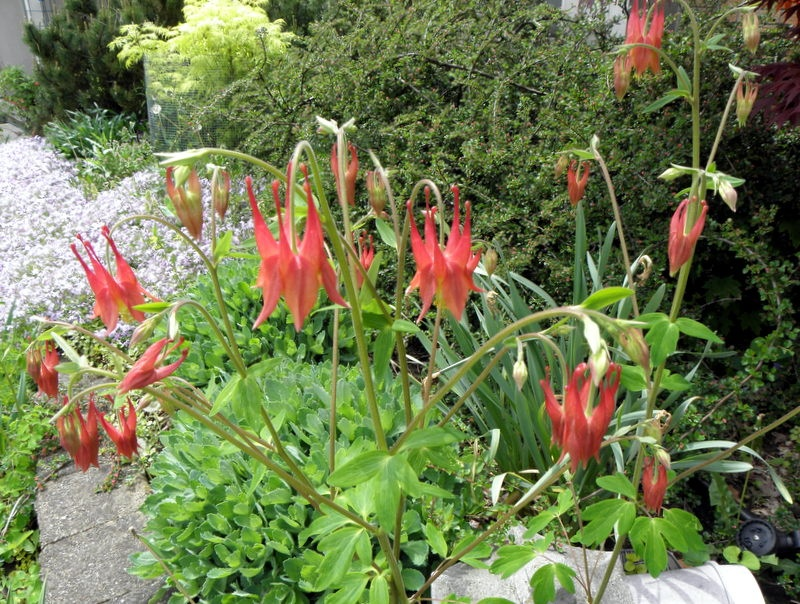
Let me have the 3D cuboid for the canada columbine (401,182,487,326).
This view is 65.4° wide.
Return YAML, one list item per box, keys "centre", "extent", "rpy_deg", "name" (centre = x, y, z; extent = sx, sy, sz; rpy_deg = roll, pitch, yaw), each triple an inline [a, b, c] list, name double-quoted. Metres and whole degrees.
- centre: [0.125, -0.220, 2.645]
  extent: [0.318, 0.535, 0.315]
  rpy_deg: [10, -5, -42]
  name: "canada columbine"

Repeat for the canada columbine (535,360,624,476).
- centre: [0.755, 0.475, 2.634]
  extent: [0.266, 0.489, 0.251]
  rpy_deg: [23, -15, -41]
  name: "canada columbine"

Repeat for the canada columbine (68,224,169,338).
- centre: [-1.311, -0.094, 2.852]
  extent: [0.232, 0.479, 0.197]
  rpy_deg: [-27, 19, -22]
  name: "canada columbine"

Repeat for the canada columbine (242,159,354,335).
- centre: [-0.438, -0.188, 2.491]
  extent: [0.363, 0.578, 0.511]
  rpy_deg: [-9, 37, -15]
  name: "canada columbine"
